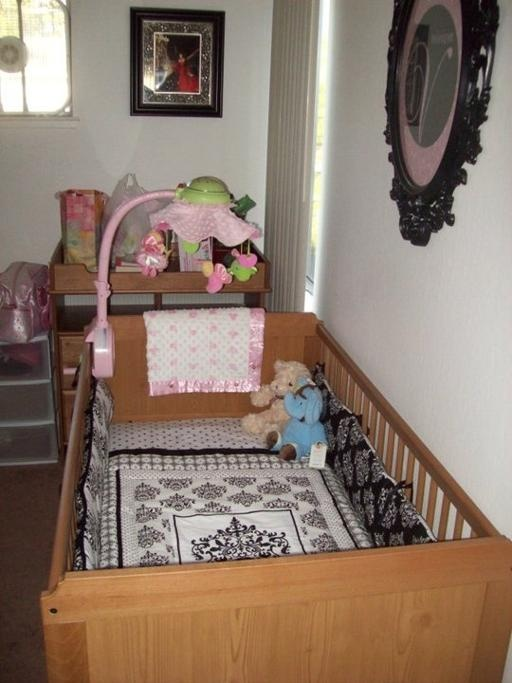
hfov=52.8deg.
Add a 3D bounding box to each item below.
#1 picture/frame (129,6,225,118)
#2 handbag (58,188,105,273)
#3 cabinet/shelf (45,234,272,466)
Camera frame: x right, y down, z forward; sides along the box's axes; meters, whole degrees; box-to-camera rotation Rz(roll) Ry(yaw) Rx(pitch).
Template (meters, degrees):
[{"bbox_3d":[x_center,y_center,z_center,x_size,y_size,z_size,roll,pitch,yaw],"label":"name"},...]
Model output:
[{"bbox_3d":[-0.488,-1.695,3.073,0.571,0.631,0.046,-1,12,-11],"label":"picture/frame"},{"bbox_3d":[-0.867,-0.547,2.579,0.200,0.379,0.150,-5,17,-21],"label":"handbag"},{"bbox_3d":[-0.434,0.059,2.270,1.006,1.049,0.414,-3,30,-11],"label":"cabinet/shelf"}]
